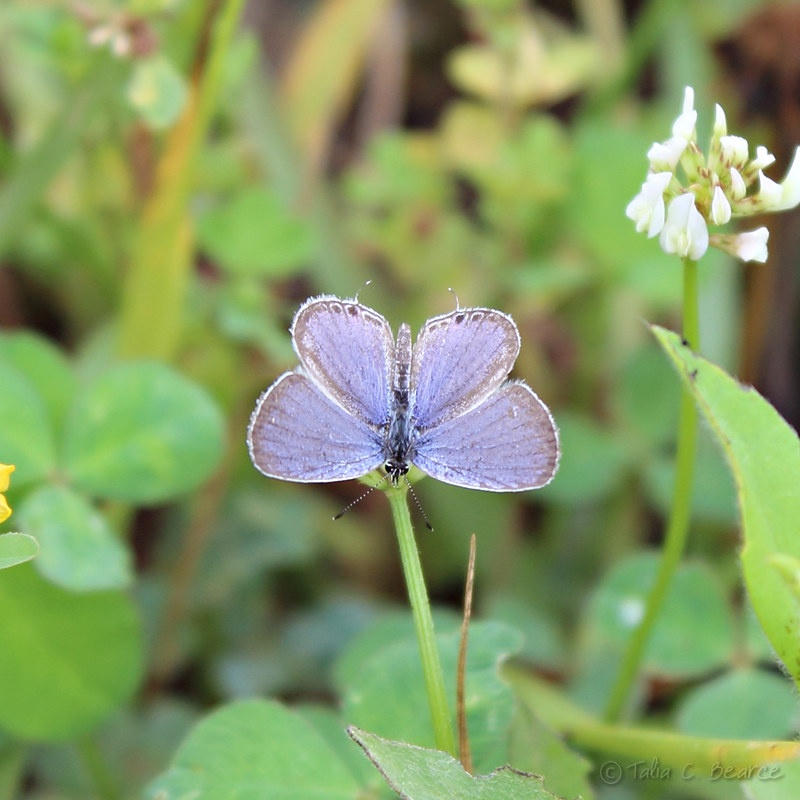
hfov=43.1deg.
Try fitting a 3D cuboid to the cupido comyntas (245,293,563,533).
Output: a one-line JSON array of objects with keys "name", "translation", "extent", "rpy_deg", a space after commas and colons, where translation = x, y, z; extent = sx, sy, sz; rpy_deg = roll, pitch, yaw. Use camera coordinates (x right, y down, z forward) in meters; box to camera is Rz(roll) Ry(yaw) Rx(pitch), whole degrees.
[{"name": "cupido comyntas", "translation": [0.015, -0.008, 1.266], "extent": [0.360, 0.184, 0.264], "rpy_deg": [2, 73, 5]}]
